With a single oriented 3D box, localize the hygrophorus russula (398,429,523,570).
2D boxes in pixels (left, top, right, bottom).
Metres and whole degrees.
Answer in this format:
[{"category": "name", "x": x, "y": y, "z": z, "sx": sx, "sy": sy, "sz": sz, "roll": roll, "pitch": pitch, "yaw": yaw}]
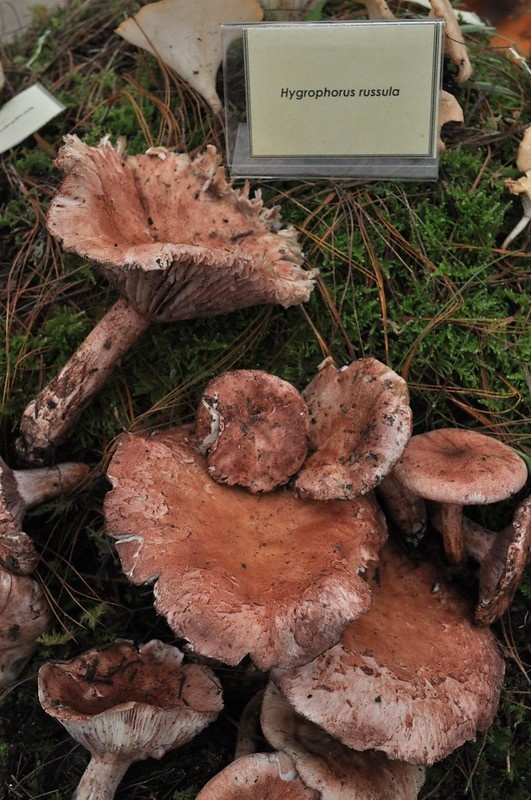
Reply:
[{"category": "hygrophorus russula", "x": 0.905, "y": 0.364, "z": 3.469, "sx": 0.512, "sy": 0.513, "sz": 0.545, "roll": 15, "pitch": 41, "yaw": 20}]
